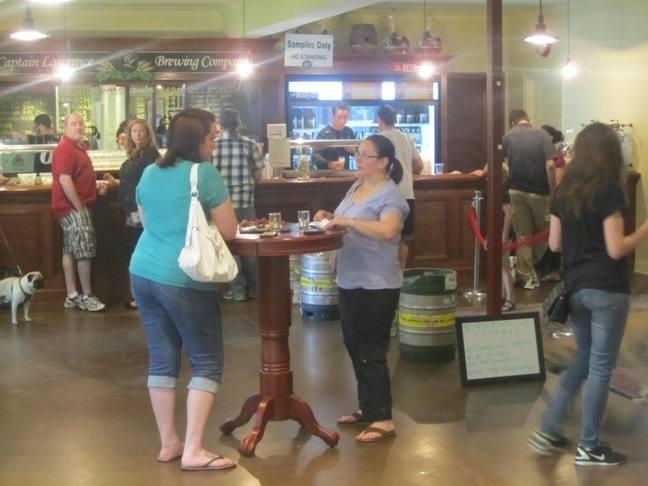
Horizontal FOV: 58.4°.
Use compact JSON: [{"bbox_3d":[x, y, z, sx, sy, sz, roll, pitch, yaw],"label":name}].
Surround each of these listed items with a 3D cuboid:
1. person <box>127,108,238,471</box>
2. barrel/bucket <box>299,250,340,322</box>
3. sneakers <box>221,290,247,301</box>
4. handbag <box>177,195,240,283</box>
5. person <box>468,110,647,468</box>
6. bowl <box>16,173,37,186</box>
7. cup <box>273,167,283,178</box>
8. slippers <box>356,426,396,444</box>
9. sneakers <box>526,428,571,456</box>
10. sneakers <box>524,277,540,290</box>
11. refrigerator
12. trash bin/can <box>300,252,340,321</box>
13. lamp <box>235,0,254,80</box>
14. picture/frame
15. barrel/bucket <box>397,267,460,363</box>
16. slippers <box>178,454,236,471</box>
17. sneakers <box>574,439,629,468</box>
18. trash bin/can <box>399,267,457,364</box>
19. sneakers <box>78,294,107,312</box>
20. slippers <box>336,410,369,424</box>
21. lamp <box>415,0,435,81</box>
[{"bbox_3d":[-0.710,0.259,2.970,0.526,1.856,0.396,-4,10,-19],"label":"person"},{"bbox_3d":[0.000,0.384,5.770,0.633,0.661,0.619,-2,5,0],"label":"barrel/bucket"},{"bbox_3d":[-1.039,0.592,6.707,0.117,0.123,0.294,-2,7,-31],"label":"sneakers"},{"bbox_3d":[-0.597,0.008,2.893,0.221,0.437,0.362,-6,-14,11],"label":"handbag"},{"bbox_3d":[1.382,0.267,3.035,0.499,1.752,0.367,5,11,34],"label":"person"},{"bbox_3d":[-3.765,-0.790,7.310,0.288,0.166,0.219,0,-1,7],"label":"bowl"},{"bbox_3d":[-0.563,-0.827,6.900,0.121,0.160,0.120,1,14,0],"label":"cup"},{"bbox_3d":[0.292,1.085,3.313,0.178,0.050,0.092,2,-4,-26],"label":"slippers"},{"bbox_3d":[1.233,1.092,3.192,0.217,0.088,0.097,-2,11,-14],"label":"sneakers"},{"bbox_3d":[2.505,0.490,6.996,0.123,0.123,0.171,5,29,44],"label":"sneakers"},{"bbox_3d":[0.619,-1.764,9.823,2.424,1.923,0.794,1,0,15],"label":"refrigerator"},{"bbox_3d":[-0.028,0.394,5.788,0.472,0.686,0.460,1,1,-22],"label":"trash bin/can"},{"bbox_3d":[-1.326,-3.300,9.406,0.311,1.225,0.261,-2,9,-3],"label":"lamp"},{"bbox_3d":[1.222,0.756,4.029,0.519,0.380,0.048,-3,2,-5],"label":"picture/frame"},{"bbox_3d":[0.831,0.583,4.667,0.470,0.652,0.475,0,2,0],"label":"barrel/bucket"},{"bbox_3d":[-0.607,1.132,2.990,0.222,0.049,0.103,0,-2,-6],"label":"slippers"},{"bbox_3d":[1.436,1.112,3.063,0.285,0.115,0.108,0,-2,-3],"label":"sneakers"},{"bbox_3d":[0.828,0.592,4.657,0.481,0.645,0.456,0,0,-5],"label":"trash bin/can"},{"bbox_3d":[-2.497,0.658,6.253,0.312,0.137,0.133,2,3,24],"label":"sneakers"},{"bbox_3d":[0.171,1.050,3.532,0.209,0.055,0.080,2,-2,-19],"label":"slippers"},{"bbox_3d":[1.743,-3.427,9.887,0.270,1.307,0.903,1,9,10],"label":"lamp"}]
